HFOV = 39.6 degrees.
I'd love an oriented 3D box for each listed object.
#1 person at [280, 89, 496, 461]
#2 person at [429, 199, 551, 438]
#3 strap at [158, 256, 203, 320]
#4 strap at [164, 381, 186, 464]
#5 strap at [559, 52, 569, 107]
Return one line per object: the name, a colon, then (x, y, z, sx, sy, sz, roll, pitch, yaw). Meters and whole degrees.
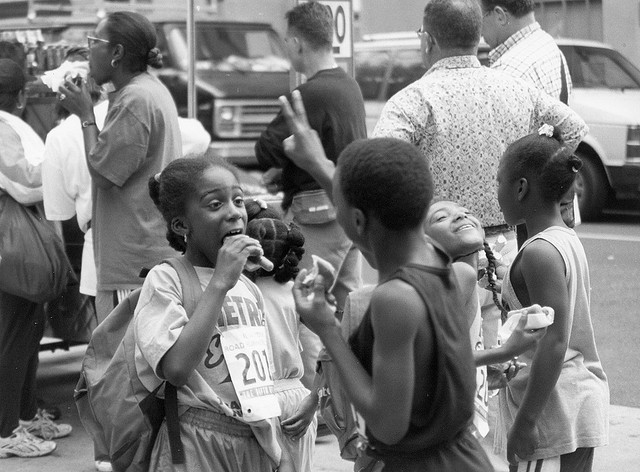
person: (0.300, 0.289, 3.468, 0.712, 1.322, 0.398, 1, 9, 13)
person: (0.771, 0.380, 3.982, 0.449, 0.768, 1.546, 17, -6, 11)
strap: (-0.642, 0.203, 4.007, 0.173, 0.264, 0.213, 14, 18, 42)
strap: (-0.650, 0.837, 3.954, 0.069, 0.358, 0.104, -5, 9, -26)
strap: (1.583, -1.024, 5.746, 0.048, 0.329, 0.214, 3, 10, 23)
